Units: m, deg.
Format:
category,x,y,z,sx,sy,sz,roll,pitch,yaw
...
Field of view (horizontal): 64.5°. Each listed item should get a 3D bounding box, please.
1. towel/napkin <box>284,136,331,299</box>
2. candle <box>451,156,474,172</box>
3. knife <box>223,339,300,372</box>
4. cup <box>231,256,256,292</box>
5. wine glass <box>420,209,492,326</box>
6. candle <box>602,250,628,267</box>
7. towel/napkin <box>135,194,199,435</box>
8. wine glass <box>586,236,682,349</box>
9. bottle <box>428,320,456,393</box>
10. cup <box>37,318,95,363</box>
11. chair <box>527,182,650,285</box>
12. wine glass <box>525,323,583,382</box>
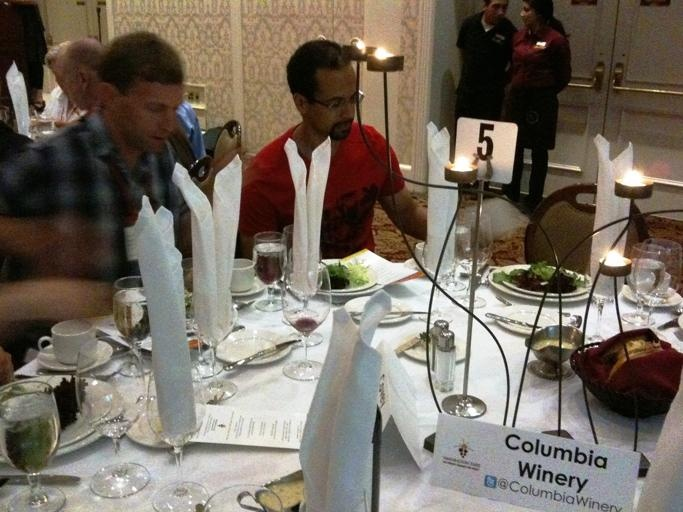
category,x,y,z,sx,sy,sz,roll,pitch,yaw
towel/napkin,-0.076,-0.190,1.720,0.139,0.501,0.072,-20,57,-8
candle,0.250,-0.189,1.115,0.054,0.018,0.052,-13,26,-27
knife,-0.227,0.287,1.543,0.272,0.014,0.039,-19,47,-41
cup,-0.327,0.066,1.881,0.102,0.090,0.083,5,13,19
wine glass,0.348,0.042,1.624,0.154,0.422,0.307,6,48,3
candle,0.578,0.006,1.135,0.045,0.016,0.048,0,13,5
towel/napkin,-0.330,0.121,1.028,0.074,0.449,0.112,-7,17,-18
wine glass,0.861,0.115,1.581,0.208,0.265,0.231,7,27,36
bottle,0.264,0.267,1.406,0.064,0.226,0.159,1,14,4
cup,-0.770,0.246,1.513,0.118,0.096,0.097,7,11,3
chair,0.869,-0.069,1.921,0.263,0.468,0.291,17,11,20
wine glass,0.598,0.268,1.512,0.146,0.111,0.140,-5,16,11
